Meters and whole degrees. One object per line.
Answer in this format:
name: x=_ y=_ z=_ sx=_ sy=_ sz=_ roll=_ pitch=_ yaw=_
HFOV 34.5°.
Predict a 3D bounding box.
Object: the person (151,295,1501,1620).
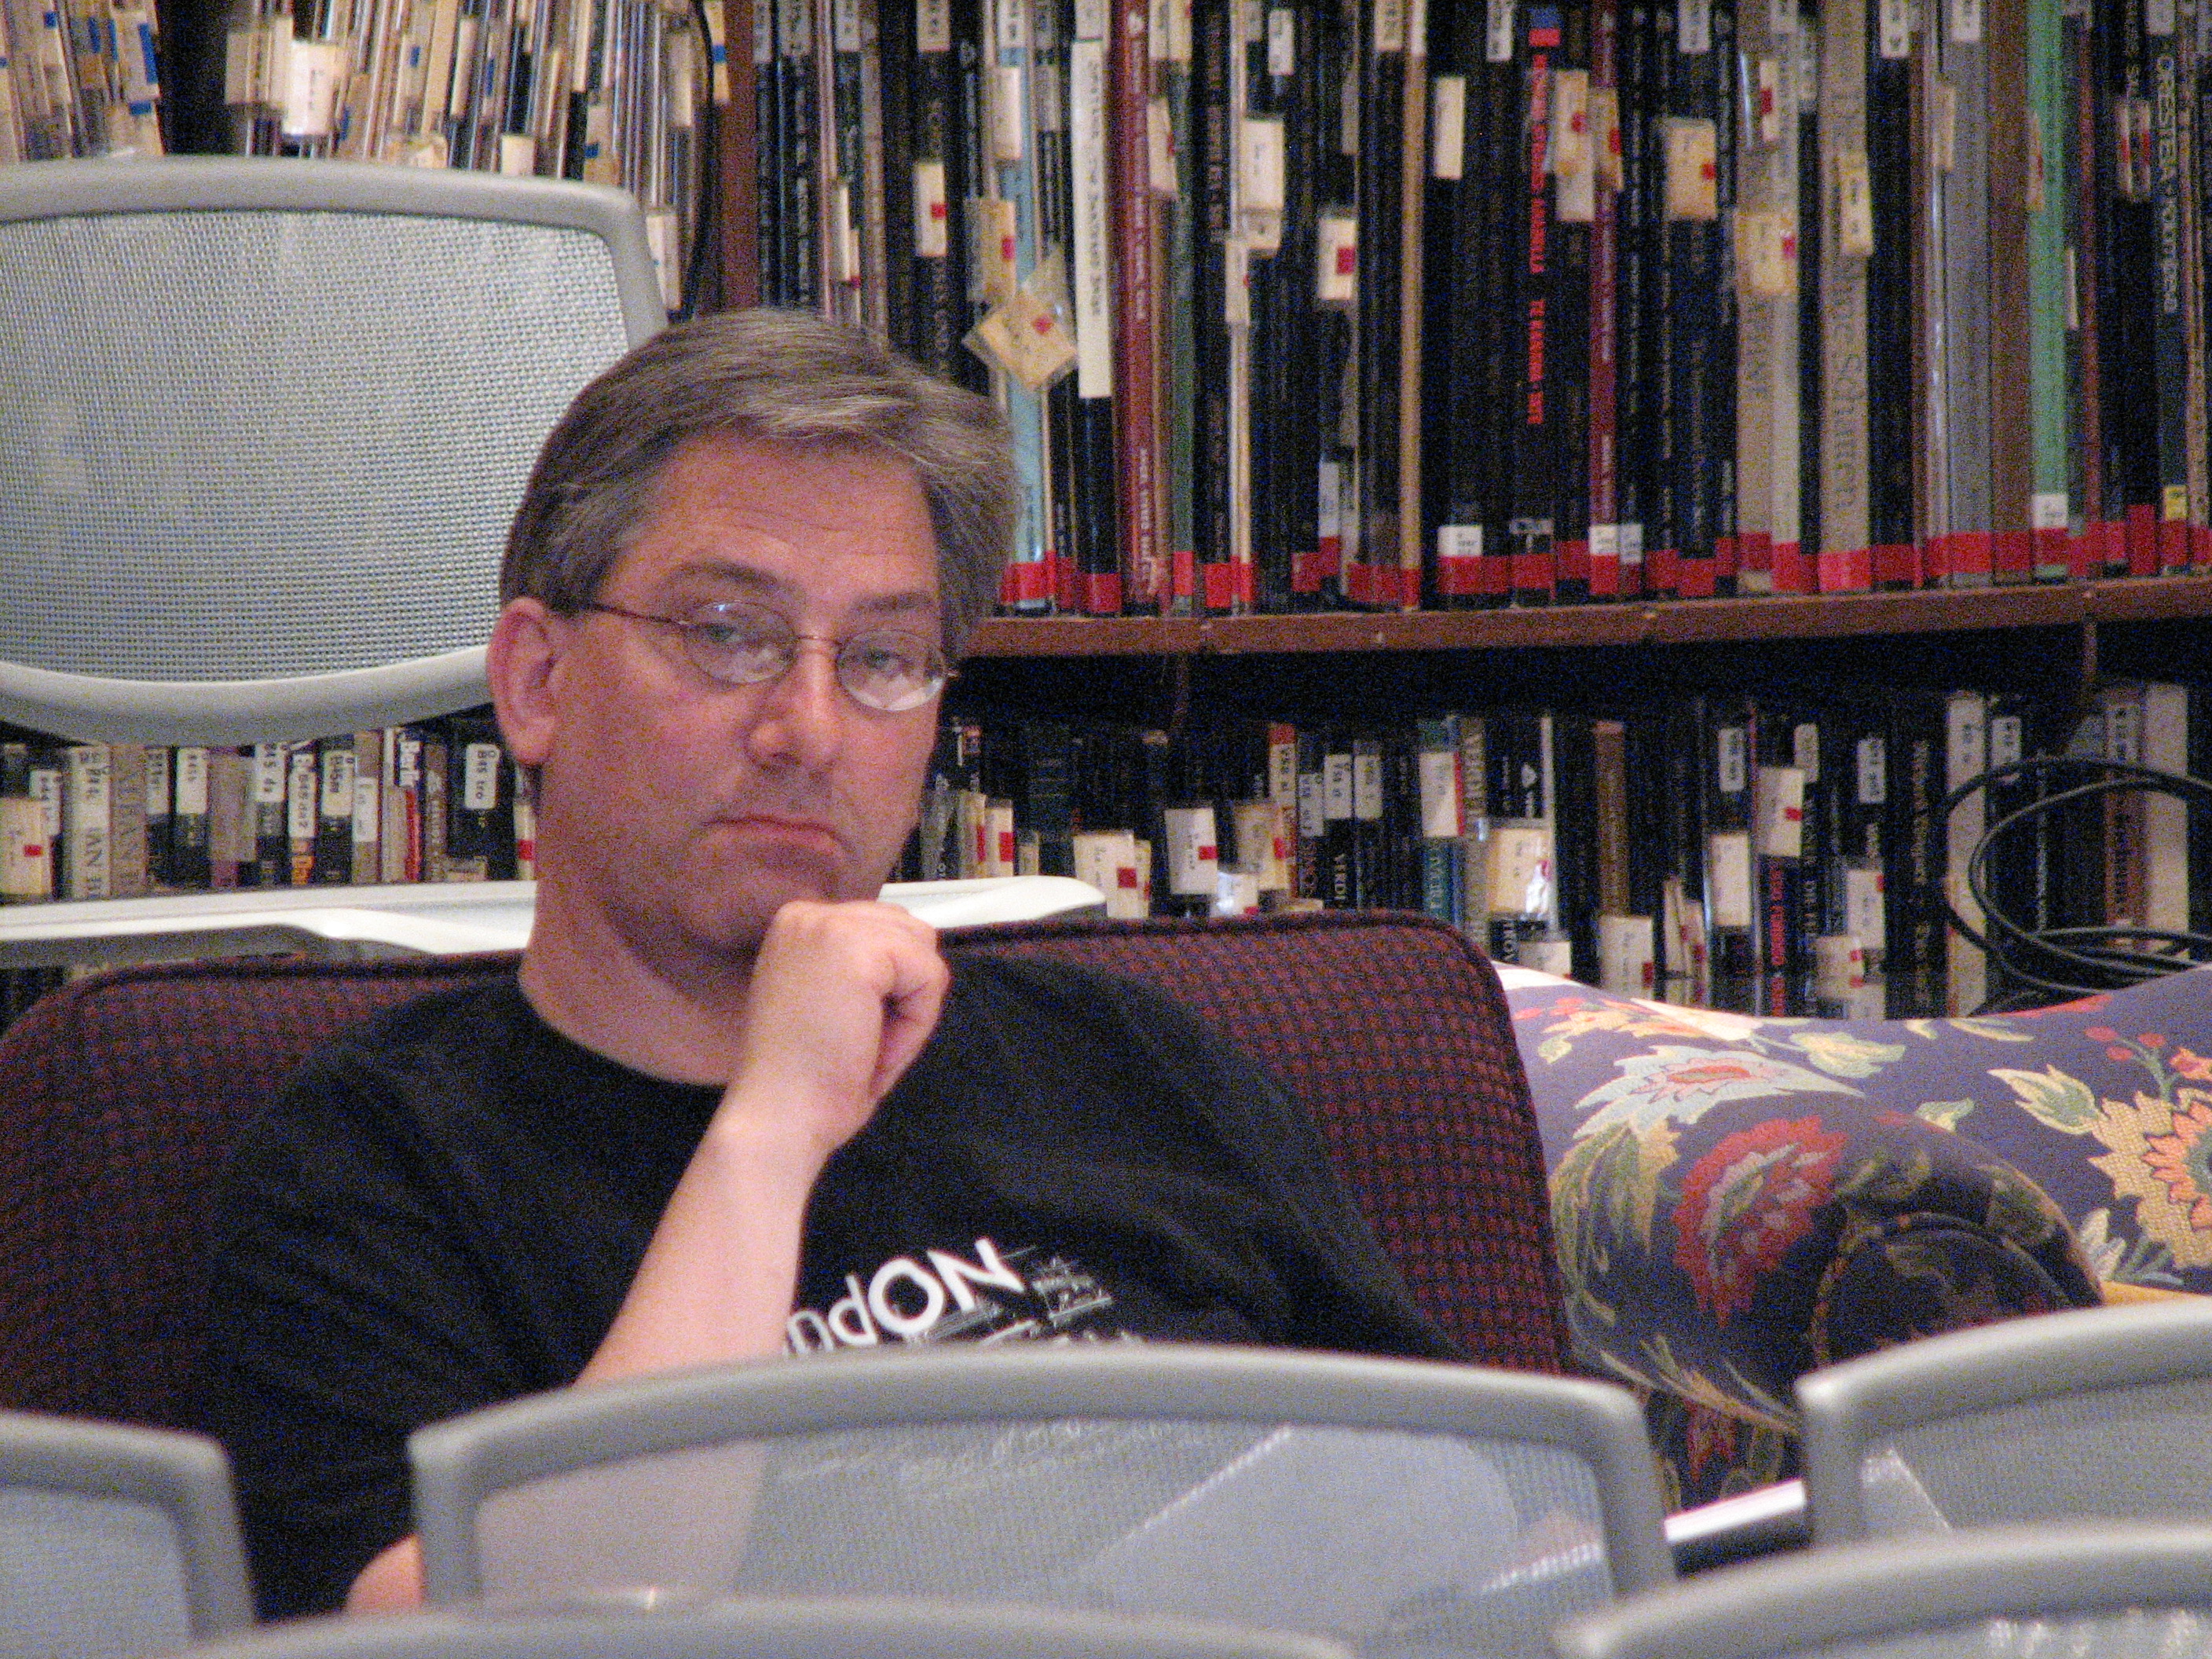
person: x=-0.239 y=0.120 z=2.650 sx=0.591 sy=1.043 sz=1.029 roll=-6 pitch=-2 yaw=41
